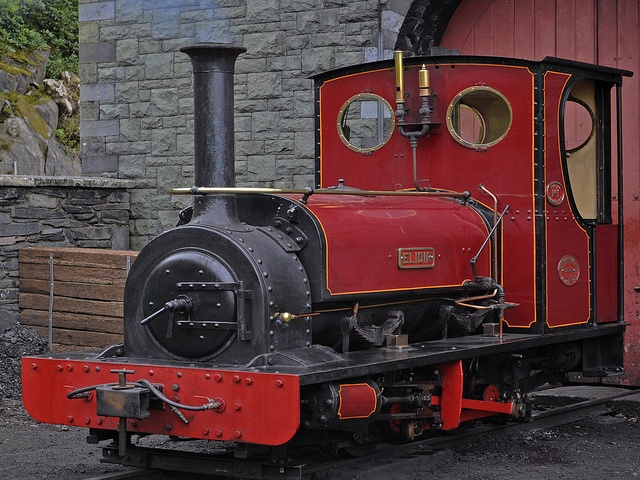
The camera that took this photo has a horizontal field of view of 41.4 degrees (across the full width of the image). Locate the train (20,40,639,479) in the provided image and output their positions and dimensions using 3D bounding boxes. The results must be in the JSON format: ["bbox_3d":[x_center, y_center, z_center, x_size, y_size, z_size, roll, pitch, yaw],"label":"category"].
[{"bbox_3d":[0.543,0.120,6.951,2.319,2.984,4.673,0,1,35],"label":"train"}]
